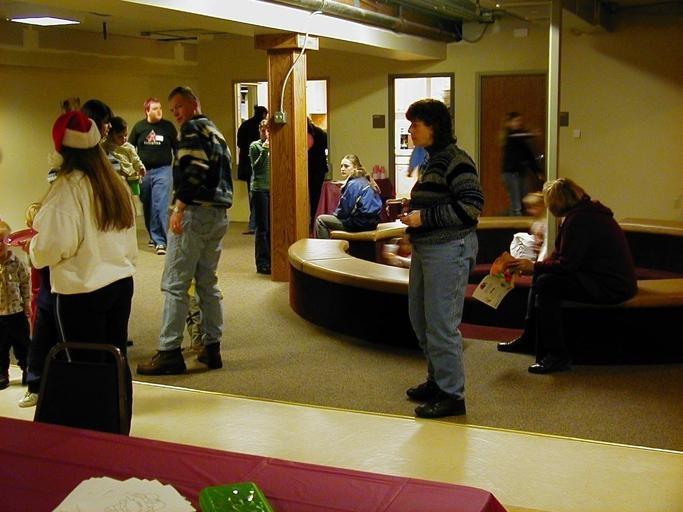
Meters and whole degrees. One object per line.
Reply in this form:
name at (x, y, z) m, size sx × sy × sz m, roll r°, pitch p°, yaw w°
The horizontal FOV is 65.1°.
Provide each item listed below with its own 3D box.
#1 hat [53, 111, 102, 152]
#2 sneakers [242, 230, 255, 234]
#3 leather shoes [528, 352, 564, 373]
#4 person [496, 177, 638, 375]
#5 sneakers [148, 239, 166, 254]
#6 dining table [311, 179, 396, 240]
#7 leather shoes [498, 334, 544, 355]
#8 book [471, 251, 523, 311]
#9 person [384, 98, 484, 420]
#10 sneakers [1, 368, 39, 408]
hat at (-1.331, -0.639, 2.626) m, size 0.235 × 0.178 × 0.172 m, roll 30°, pitch 37°, yaw 14°
sneakers at (-1.734, -0.449, 9.984) m, size 0.211 × 0.076 × 0.070 m, roll 4°, pitch 3°, yaw 16°
leather shoes at (1.482, 0.769, 3.854) m, size 0.282 × 0.117 × 0.110 m, roll -2°, pitch 0°, yaw -9°
person at (1.632, 0.131, 3.844) m, size 0.943 × 1.358 × 0.520 m, roll 3°, pitch 9°, yaw 23°
sneakers at (-2.809, -0.142, 8.142) m, size 0.212 × 0.235 × 0.611 m, roll -1°, pitch 3°, yaw -29°
dining table at (0.135, -0.627, 7.349) m, size 1.081 × 0.718 × 0.779 m, roll 0°, pitch 4°, yaw 0°
leather shoes at (1.419, 0.696, 4.218) m, size 0.335 × 0.123 × 0.119 m, roll 2°, pitch 2°, yaw 5°
book at (1.301, 0.226, 4.410) m, size 0.333 × 0.555 × 0.183 m, roll 35°, pitch -5°, yaw -5°
person at (0.599, 0.005, 3.184) m, size 0.460 × 1.864 × 0.474 m, roll 1°, pitch 9°, yaw 10°
sneakers at (-2.068, 0.840, 3.392) m, size 0.123 × 0.149 × 0.561 m, roll -8°, pitch 11°, yaw -42°
